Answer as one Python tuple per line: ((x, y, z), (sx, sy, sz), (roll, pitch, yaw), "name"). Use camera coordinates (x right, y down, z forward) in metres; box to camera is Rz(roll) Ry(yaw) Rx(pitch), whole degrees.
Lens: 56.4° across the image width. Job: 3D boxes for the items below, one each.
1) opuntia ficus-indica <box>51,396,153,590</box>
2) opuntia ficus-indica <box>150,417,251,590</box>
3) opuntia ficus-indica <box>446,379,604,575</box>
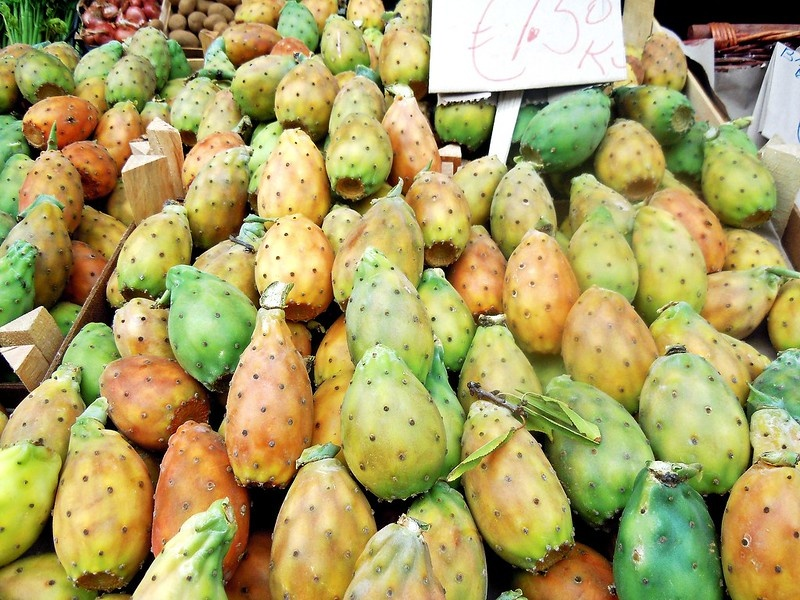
((-0.847, 0.548, 2.117), (0.223, 0.202, 0.476), (-11, 71, -21), "opuntia ficus-indica")
((-0.531, 0.564, 1.980), (0.208, 0.216, 0.426), (6, 64, -15), "opuntia ficus-indica")
((0.290, 0.485, 2.071), (0.415, 0.228, 0.455), (-17, 67, -25), "opuntia ficus-indica")
